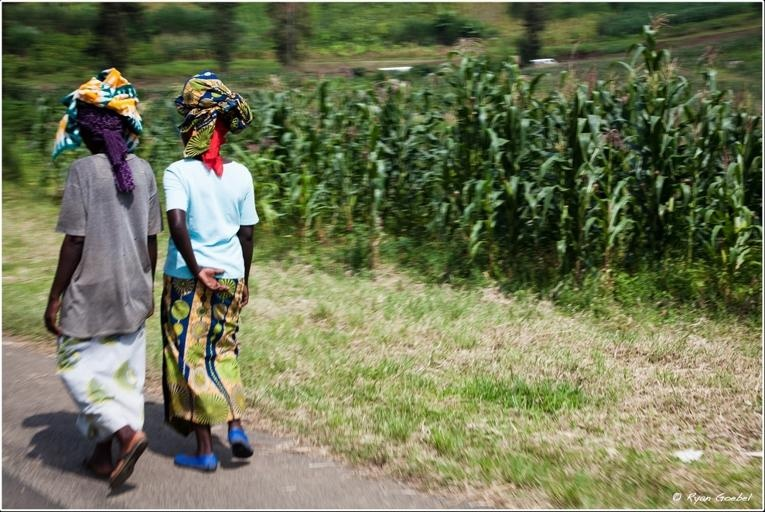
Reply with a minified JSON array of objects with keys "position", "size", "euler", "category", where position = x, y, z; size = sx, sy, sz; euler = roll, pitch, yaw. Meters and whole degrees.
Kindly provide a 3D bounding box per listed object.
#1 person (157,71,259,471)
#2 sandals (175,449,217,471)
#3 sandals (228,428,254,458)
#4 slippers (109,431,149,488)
[{"position":[-1.382,0.126,5.577],"size":[0.731,3.085,0.952],"euler":[2,16,-9],"category":"person"},{"position":[-1.479,1.632,5.684],"size":[0.388,0.126,0.131],"euler":[6,2,13],"category":"sandals"},{"position":[-1.119,1.466,5.597],"size":[0.162,0.264,0.130],"euler":[-8,32,2],"category":"sandals"},{"position":[-1.935,1.552,5.389],"size":[0.202,0.450,0.157],"euler":[37,-2,27],"category":"slippers"}]
